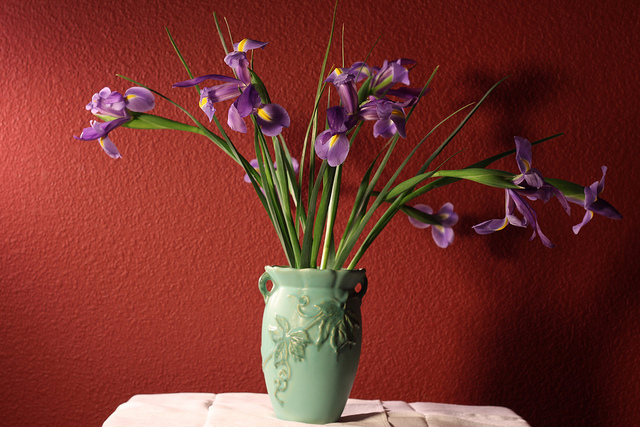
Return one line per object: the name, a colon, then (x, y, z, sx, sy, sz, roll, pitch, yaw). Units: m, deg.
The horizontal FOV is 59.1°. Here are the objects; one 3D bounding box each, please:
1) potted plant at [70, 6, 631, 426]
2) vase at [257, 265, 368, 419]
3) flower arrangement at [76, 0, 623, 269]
potted plant: (0.089, -0.165, 2.008, 1.285, 1.210, 1.381, 1, -6, -2)
vase: (-0.050, 0.341, 1.636, 0.338, 0.446, 0.336, 2, -8, -11)
flower arrangement: (-0.030, -0.107, 1.640, 1.058, 0.750, 1.034, 5, -3, -15)
